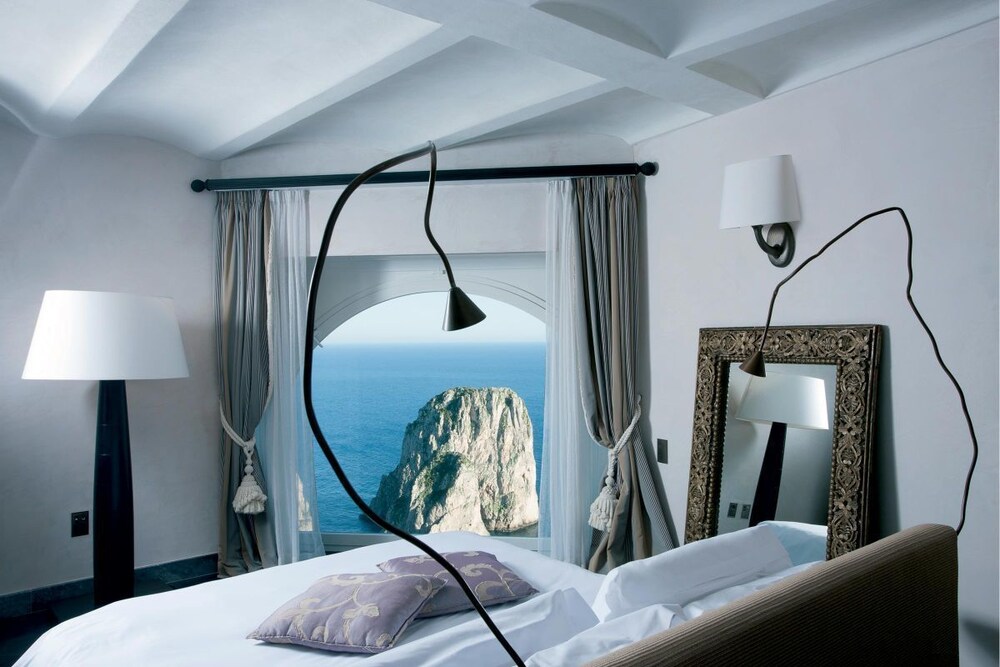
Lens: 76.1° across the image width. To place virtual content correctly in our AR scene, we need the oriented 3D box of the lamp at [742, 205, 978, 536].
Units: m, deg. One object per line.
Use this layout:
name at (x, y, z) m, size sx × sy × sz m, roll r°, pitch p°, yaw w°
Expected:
lamp at (1.704, 0.154, 3.051) m, size 0.446 × 1.534 × 0.887 m, roll -1°, pitch 2°, yaw -42°

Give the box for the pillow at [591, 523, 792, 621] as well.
pillow at (0.778, 1.014, 2.902) m, size 1.042 × 0.270 × 0.286 m, roll -13°, pitch 7°, yaw -23°
